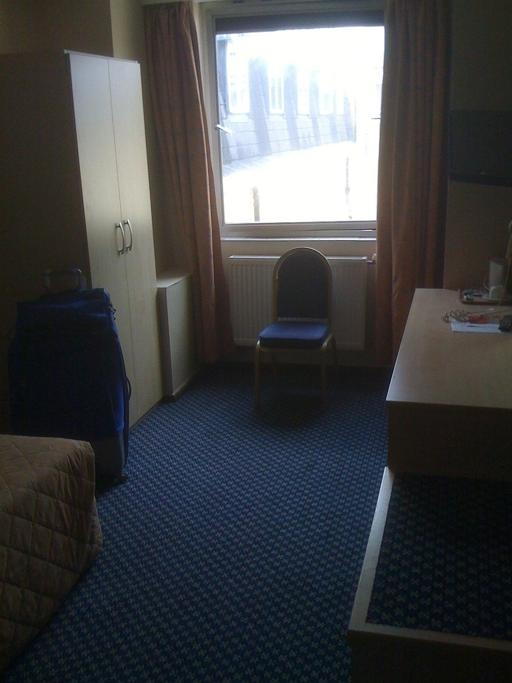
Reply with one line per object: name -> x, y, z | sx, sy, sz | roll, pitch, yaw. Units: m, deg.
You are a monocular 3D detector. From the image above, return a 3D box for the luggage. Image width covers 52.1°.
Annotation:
luggage -> -0.775, 0.121, 2.194 | 0.441, 0.917, 0.412 | -7, 17, -39

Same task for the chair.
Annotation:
chair -> 0.006, -0.130, 3.441 | 0.561, 1.705, 0.800 | 2, 13, 9
